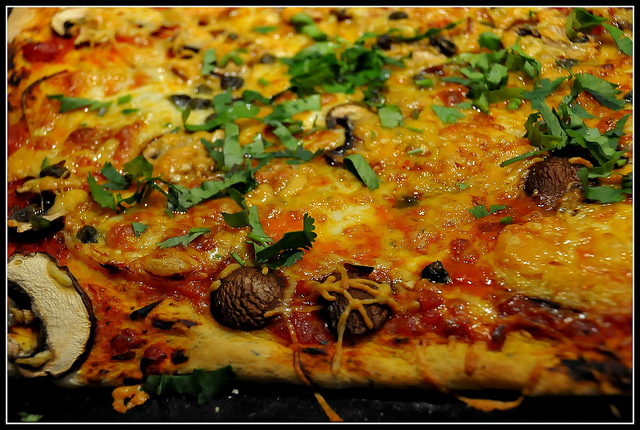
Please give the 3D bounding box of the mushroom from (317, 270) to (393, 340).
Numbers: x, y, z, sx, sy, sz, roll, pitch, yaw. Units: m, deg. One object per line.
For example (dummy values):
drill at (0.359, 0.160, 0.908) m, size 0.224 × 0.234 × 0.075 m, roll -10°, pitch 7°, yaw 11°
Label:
mushroom at (0.196, 0.574, 3.918) m, size 0.463 × 0.116 × 0.454 m, roll -19°, pitch 78°, yaw 2°

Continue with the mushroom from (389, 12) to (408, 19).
mushroom at (0.704, -1.775, 5.391) m, size 0.097 × 0.099 × 0.022 m, roll -30°, pitch 120°, yaw -40°

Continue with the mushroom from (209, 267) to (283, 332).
mushroom at (-0.482, 0.561, 3.983) m, size 0.406 × 0.109 × 0.455 m, roll 28°, pitch 83°, yaw 10°

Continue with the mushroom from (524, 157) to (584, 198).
mushroom at (1.610, -0.260, 4.131) m, size 0.361 × 0.130 × 0.290 m, roll 6°, pitch 80°, yaw 7°

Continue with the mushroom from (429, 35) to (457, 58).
mushroom at (1.055, -1.433, 5.157) m, size 0.256 × 0.098 × 0.146 m, roll 37°, pitch 100°, yaw 12°

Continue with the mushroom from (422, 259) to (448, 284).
mushroom at (0.770, 0.370, 3.974) m, size 0.178 × 0.077 × 0.135 m, roll 15°, pitch 78°, yaw 6°
